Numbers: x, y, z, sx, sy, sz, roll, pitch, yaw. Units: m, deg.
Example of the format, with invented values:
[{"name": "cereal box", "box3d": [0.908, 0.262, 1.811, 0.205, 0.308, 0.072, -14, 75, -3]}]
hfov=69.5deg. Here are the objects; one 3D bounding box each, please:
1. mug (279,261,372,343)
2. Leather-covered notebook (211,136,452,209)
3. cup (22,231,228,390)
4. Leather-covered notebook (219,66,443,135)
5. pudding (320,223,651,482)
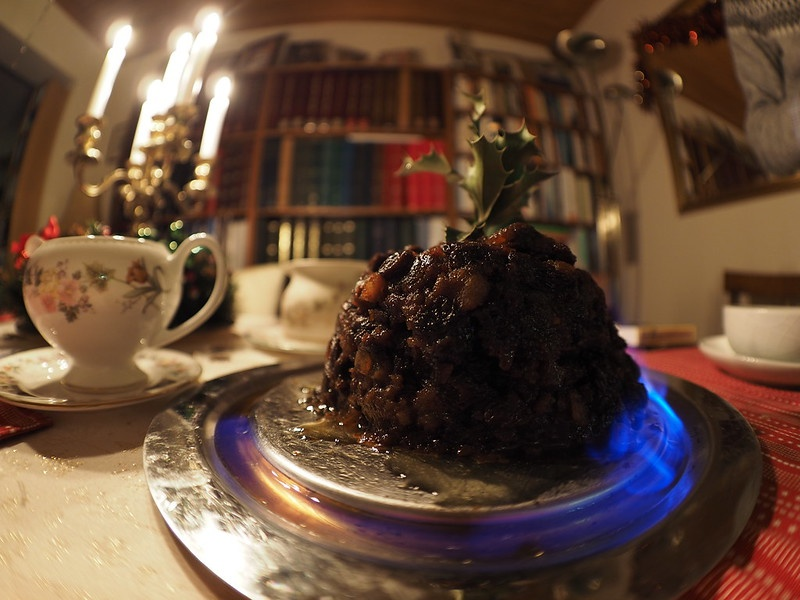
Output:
[{"name": "mug", "box3d": [-0.188, 0.000, 1.433, 0.225, 0.144, 0.221, 2, 0, 32]}, {"name": "Leather-covered notebook", "box3d": [-0.352, -0.720, 3.245, 0.888, 0.276, 0.259, 1, -2, 2]}, {"name": "cup", "box3d": [-0.504, -0.006, 1.108, 0.405, 0.260, 0.265, 2, -3, -19]}, {"name": "Leather-covered notebook", "box3d": [-0.333, -1.102, 3.165, 0.868, 0.251, 0.255, 0, -9, 8]}, {"name": "pudding", "box3d": [0.138, -0.001, 0.962, 0.472, 0.239, 0.471, -15, 17, -30]}]
